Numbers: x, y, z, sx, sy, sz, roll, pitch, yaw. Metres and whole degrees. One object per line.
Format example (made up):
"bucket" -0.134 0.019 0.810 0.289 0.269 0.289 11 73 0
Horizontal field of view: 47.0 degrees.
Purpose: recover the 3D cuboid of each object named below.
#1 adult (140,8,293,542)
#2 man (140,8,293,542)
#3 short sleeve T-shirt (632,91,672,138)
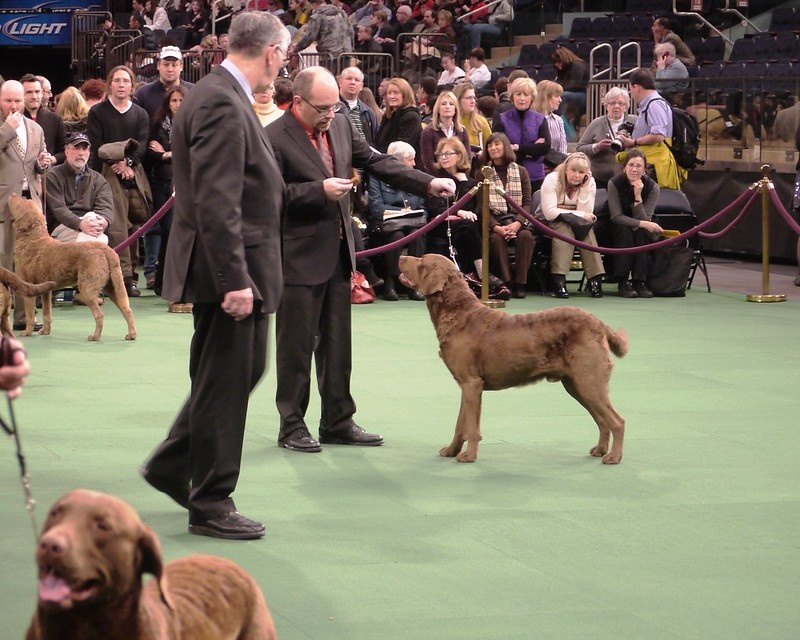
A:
"adult" -0.863 -0.201 4.249 0.674 2.458 0.485 0 3 -6
"man" -0.863 -0.201 4.249 0.674 2.458 0.485 0 3 -6
"short sleeve T-shirt" 3.619 -2.942 13.329 0.526 0.664 0.305 3 4 38
